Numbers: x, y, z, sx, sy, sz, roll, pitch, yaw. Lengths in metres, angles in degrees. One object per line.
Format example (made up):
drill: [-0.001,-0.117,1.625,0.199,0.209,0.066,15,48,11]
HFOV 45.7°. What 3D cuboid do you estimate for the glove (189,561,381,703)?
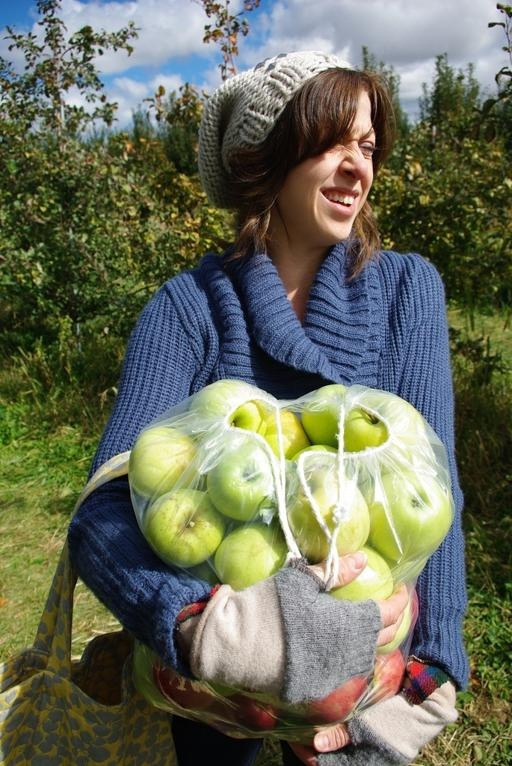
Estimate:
glove: [0.045,0.367,0.902,0.270,0.181,0.104,6,12,12]
